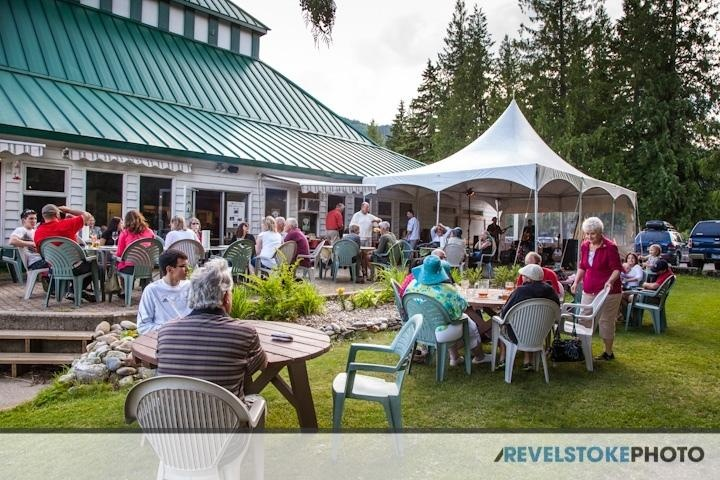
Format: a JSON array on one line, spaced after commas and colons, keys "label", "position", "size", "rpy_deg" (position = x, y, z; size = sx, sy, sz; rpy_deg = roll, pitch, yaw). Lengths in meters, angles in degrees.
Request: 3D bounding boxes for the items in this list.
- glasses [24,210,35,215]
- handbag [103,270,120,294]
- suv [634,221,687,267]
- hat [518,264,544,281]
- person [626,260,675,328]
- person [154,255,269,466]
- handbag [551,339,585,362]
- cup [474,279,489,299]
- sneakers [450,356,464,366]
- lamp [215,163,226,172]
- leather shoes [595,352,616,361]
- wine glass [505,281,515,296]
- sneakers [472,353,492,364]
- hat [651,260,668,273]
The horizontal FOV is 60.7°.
[{"label": "glasses", "position": [-7.320, -0.628, 13.662], "size": [0.140, 0.045, 0.143], "rpy_deg": [-9, 4, 0]}, {"label": "handbag", "position": [-5.196, 0.859, 12.885], "size": [0.464, 0.496, 0.240], "rpy_deg": [-5, -7, 44]}, {"label": "suv", "position": [11.120, 0.073, 22.869], "size": [1.667, 1.546, 3.560], "rpy_deg": [0, 4, 39]}, {"label": "hat", "position": [2.945, 0.543, 10.585], "size": [0.258, 0.199, 0.345], "rpy_deg": [-8, 15, -32]}, {"label": "person", "position": [6.327, 1.323, 13.605], "size": [0.882, 1.323, 0.896], "rpy_deg": [0, 4, -29]}, {"label": "person", "position": [-1.922, 1.226, 7.973], "size": [1.364, 1.887, 0.378], "rpy_deg": [1, 2, -6]}, {"label": "handbag", "position": [3.667, 1.940, 10.906], "size": [0.365, 0.340, 0.159], "rpy_deg": [0, 8, 5]}, {"label": "cup", "position": [2.342, 0.919, 11.823], "size": [0.271, 0.422, 0.262], "rpy_deg": [1, -12, 0]}, {"label": "sneakers", "position": [1.743, 2.200, 11.266], "size": [0.118, 0.108, 0.250], "rpy_deg": [2, 7, 40]}, {"label": "lamp", "position": [-4.025, -2.124, 17.785], "size": [0.224, 0.237, 0.210], "rpy_deg": [2, 11, 9]}, {"label": "leather shoes", "position": [4.591, 2.167, 11.540], "size": [0.366, 0.164, 0.137], "rpy_deg": [2, -3, -7]}, {"label": "wine glass", "position": [2.811, 0.901, 11.733], "size": [0.211, 0.312, 0.207], "rpy_deg": [-1, 3, -40]}, {"label": "sneakers", "position": [2.232, 2.182, 11.381], "size": [0.303, 0.131, 0.163], "rpy_deg": [-9, 6, -8]}, {"label": "hat", "position": [6.618, 0.562, 13.652], "size": [0.293, 0.337, 0.237], "rpy_deg": [1, -3, -10]}]
